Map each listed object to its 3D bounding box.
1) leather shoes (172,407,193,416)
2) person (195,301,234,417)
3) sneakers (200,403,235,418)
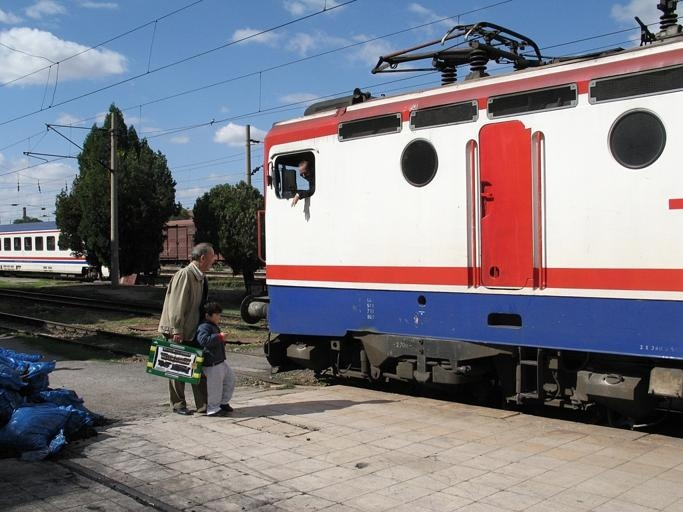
[{"bbox_3d":[-2.053,1.987,7.796,0.257,0.105,0.098,-5,-7,33],"label":"leather shoes"},{"bbox_3d":[-1.611,1.306,7.754,0.536,1.430,0.314,-1,2,-42],"label":"person"},{"bbox_3d":[-1.598,1.972,7.751,0.394,0.187,0.129,17,-16,-37],"label":"sneakers"}]
